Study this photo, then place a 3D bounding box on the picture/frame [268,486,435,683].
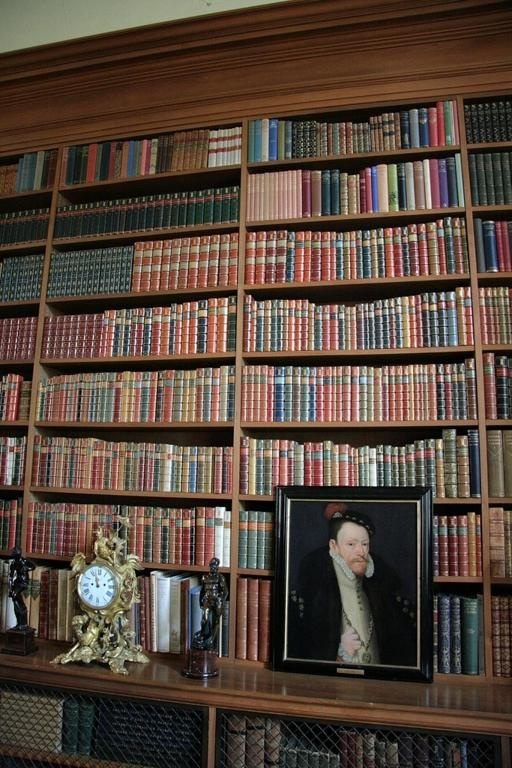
[{"bbox_3d":[0.345,0.709,2.454,0.694,0.709,0.079,0,-13,16],"label":"picture/frame"}]
